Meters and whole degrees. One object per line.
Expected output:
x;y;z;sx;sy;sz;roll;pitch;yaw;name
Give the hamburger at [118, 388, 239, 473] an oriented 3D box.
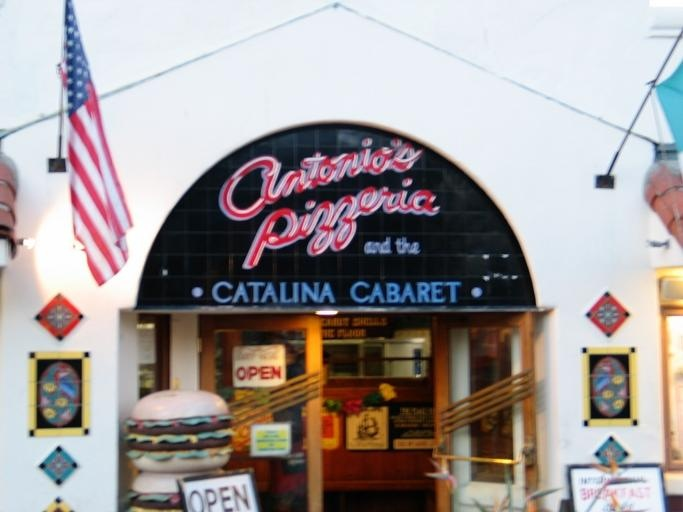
-1.837;2.029;13.017;1.278;0.962;1.341;-6;-8;33;hamburger
